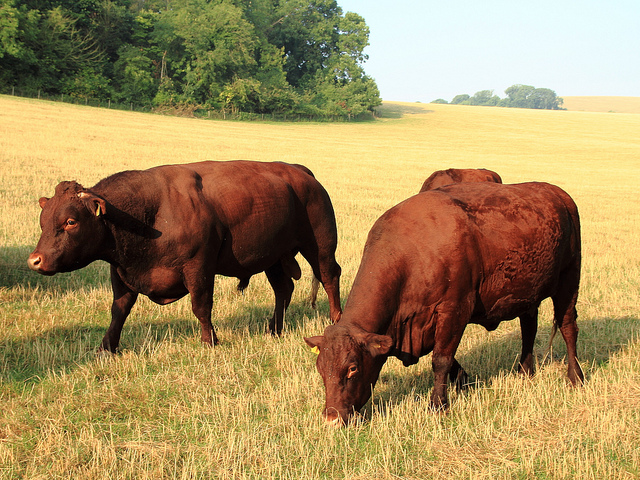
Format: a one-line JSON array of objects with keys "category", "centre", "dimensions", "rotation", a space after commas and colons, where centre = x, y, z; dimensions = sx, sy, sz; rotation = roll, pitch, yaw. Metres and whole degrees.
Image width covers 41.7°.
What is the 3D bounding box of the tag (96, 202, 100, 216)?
[{"category": "tag", "centre": [-3.364, -0.489, 12.766], "dimensions": [0.049, 0.198, 0.044], "rotation": [1, 9, -22]}]
